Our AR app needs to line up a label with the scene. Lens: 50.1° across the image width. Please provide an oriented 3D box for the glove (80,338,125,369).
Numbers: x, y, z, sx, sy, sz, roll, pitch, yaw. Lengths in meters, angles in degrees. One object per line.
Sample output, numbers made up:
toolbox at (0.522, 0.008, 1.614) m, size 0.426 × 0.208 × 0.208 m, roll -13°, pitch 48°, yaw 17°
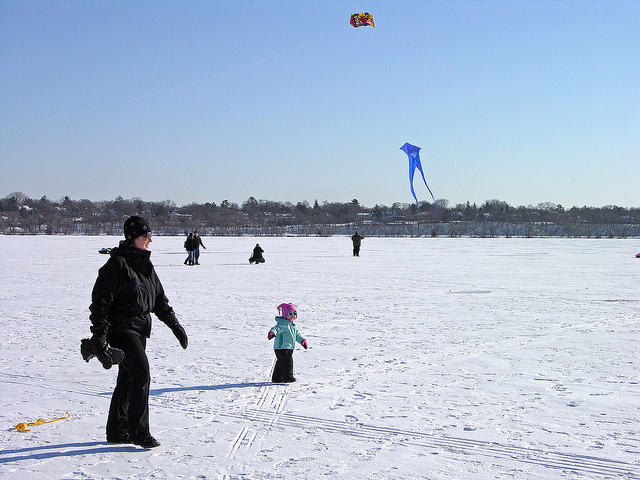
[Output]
glove at (-2.066, 1.092, 6.622) m, size 0.561 × 0.198 × 0.259 m, roll 15°, pitch 7°, yaw 23°

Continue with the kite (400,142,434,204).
kite at (2.932, -2.117, 20.958) m, size 0.770 × 1.896 × 0.802 m, roll -11°, pitch 14°, yaw 23°

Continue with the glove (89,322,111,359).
glove at (-2.105, 0.959, 6.581) m, size 0.191 × 0.297 × 0.228 m, roll -7°, pitch 17°, yaw -28°

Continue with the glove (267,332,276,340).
glove at (-0.634, 1.246, 8.861) m, size 0.071 × 0.104 × 0.033 m, roll 6°, pitch -1°, yaw -3°

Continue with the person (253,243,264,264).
person at (-2.994, 0.705, 33.161) m, size 0.518 × 1.134 × 0.466 m, roll 8°, pitch 31°, yaw 11°

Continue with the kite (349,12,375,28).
kite at (1.049, -5.596, 17.546) m, size 0.548 × 0.288 × 0.350 m, roll 6°, pitch 16°, yaw 19°

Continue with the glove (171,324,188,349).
glove at (-1.442, 0.994, 7.098) m, size 0.072 × 0.242 × 0.174 m, roll -17°, pitch -17°, yaw 6°

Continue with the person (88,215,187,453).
person at (-1.856, 0.936, 6.869) m, size 0.653 × 2.223 × 0.872 m, roll 7°, pitch 16°, yaw 23°

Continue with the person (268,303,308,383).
person at (-0.450, 1.492, 9.708) m, size 0.307 × 0.774 × 0.626 m, roll -25°, pitch -37°, yaw 29°
